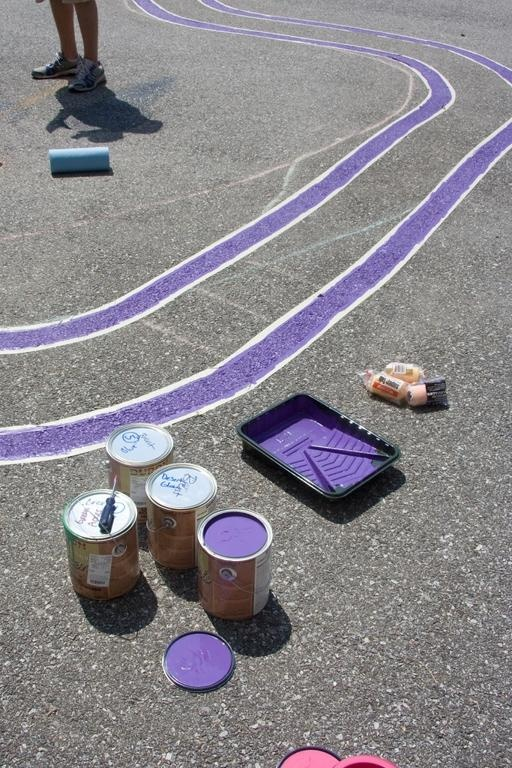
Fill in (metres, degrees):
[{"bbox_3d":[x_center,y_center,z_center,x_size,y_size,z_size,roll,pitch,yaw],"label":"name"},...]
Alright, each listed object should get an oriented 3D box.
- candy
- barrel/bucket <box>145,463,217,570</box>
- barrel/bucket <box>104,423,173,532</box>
[{"bbox_3d":[0.997,-0.006,5.234,0.608,0.183,0.350,9,33,13],"label":"candy"},{"bbox_3d":[-0.370,0.652,3.795,0.354,0.361,0.355,3,37,-2],"label":"barrel/bucket"},{"bbox_3d":[-0.676,0.485,4.144,0.388,0.489,0.317,1,14,-21],"label":"barrel/bucket"}]
